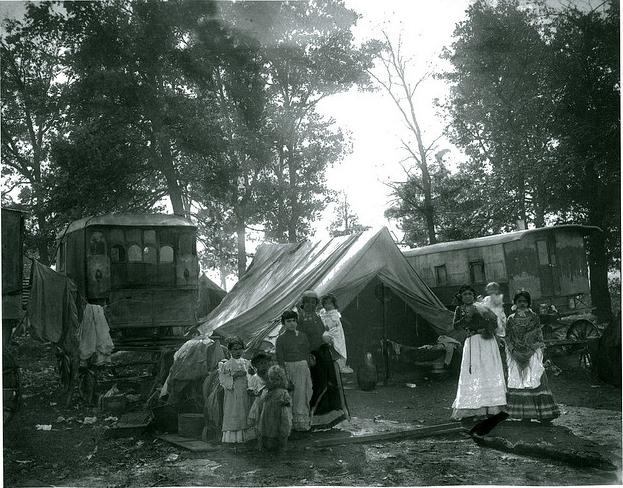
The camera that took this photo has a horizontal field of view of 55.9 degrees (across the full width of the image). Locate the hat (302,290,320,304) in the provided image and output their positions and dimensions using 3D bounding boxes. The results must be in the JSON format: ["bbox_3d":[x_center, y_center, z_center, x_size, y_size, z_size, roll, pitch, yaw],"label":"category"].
[{"bbox_3d":[0.010,0.873,9.741,0.321,0.175,0.490,1,-4,-5],"label":"hat"}]

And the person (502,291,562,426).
[{"bbox_3d":[3.365,1.679,8.946,0.729,1.847,0.599,0,6,18],"label":"person"}]

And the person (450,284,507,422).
[{"bbox_3d":[2.625,1.678,9.118,0.793,2.075,0.494,-1,6,16],"label":"person"}]

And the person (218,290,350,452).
[{"bbox_3d":[-0.022,1.825,9.028,1.110,2.119,0.683,-7,7,-38],"label":"person"}]
